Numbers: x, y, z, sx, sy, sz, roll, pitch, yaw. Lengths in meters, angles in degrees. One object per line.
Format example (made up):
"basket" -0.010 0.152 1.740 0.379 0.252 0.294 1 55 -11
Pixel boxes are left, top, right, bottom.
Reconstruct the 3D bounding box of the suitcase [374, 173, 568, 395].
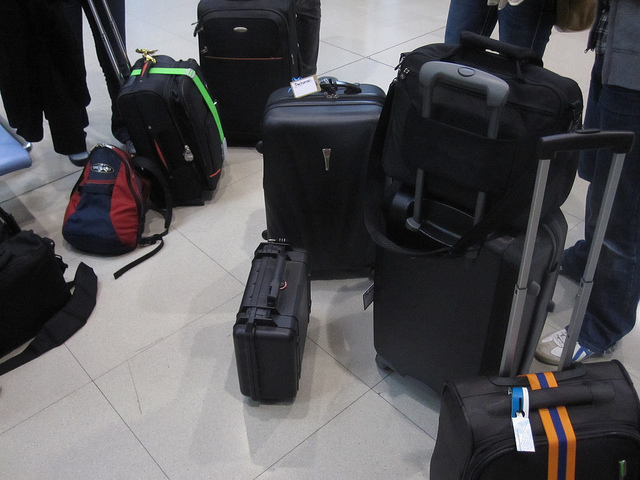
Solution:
"suitcase" 0.436 0.118 1.504 0.227 0.655 0.418 -29 48 -27

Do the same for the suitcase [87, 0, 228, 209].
"suitcase" -0.736 -0.578 2.576 0.430 0.701 0.408 -5 38 -4

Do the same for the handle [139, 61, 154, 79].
"handle" -0.842 -0.815 2.402 0.034 0.030 0.111 14 59 -1

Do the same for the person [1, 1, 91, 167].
"person" -1.313 -0.729 2.373 0.399 0.752 0.139 -18 40 -21

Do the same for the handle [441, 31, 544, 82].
"handle" 0.481 -0.511 1.430 0.231 0.071 0.174 27 56 12

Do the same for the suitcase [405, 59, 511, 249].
"suitcase" 0.387 -0.253 1.387 0.193 0.485 0.318 -30 45 -34

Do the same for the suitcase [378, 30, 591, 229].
"suitcase" 0.485 -0.364 1.502 0.516 0.529 0.315 23 45 28

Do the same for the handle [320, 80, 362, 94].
"handle" 0.082 -0.615 2.000 0.122 0.034 0.075 16 31 -1

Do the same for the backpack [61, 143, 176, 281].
"backpack" -0.960 -0.173 2.411 0.615 0.572 0.375 2 -2 40

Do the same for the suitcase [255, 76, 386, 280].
"suitcase" 0.019 -0.261 2.185 0.491 0.790 0.447 -5 32 -2

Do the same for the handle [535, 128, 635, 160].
"handle" 0.624 -0.224 1.189 0.257 0.066 0.034 -11 39 -11

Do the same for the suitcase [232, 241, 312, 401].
"suitcase" -0.168 0.311 1.801 0.201 0.363 0.451 2 46 2
